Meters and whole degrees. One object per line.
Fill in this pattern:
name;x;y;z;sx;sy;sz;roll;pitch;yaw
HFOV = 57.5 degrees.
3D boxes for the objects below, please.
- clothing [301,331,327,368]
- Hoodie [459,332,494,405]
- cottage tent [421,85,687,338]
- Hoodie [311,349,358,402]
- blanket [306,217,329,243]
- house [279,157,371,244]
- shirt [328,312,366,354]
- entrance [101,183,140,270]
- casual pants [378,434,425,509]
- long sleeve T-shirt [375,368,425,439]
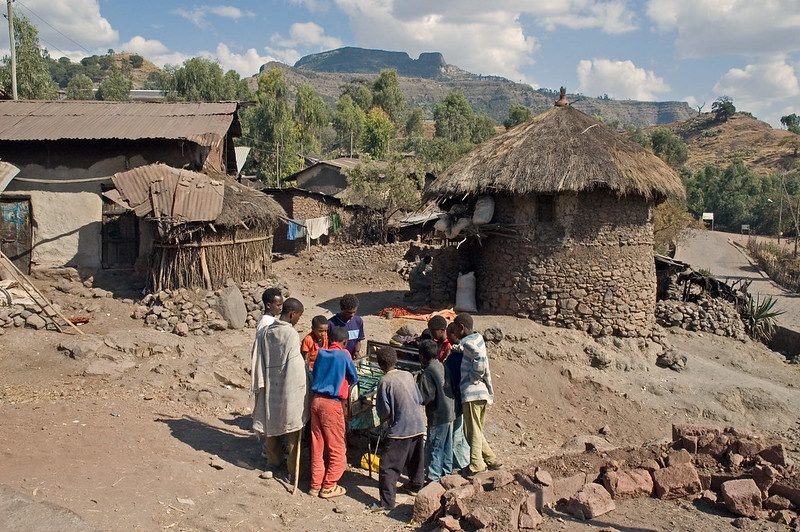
clothing;-1.599;1.581;13.628;0.648;0.630;0.357;-5;3;-39
Hoodie;1.471;1.960;13.901;0.676;1.371;0.397;4;5;4
cottage tent;4.572;-1.710;22.135;7.035;5.946;7.157;-1;7;-36
Hoodie;-1.185;1.927;13.463;0.887;0.953;0.615;4;12;0
blanket;-3.484;-1.614;30.767;0.523;0.992;2.010;5;4;11
house;-3.727;-3.032;34.317;3.119;1.881;4.613;-9;14;-36
shirt;-1.055;1.427;14.526;0.774;0.999;0.372;-3;23;-7
entrance;-7.958;-1.081;20.473;0.958;2.394;0.219;-5;-12;-13
casual pants;0.157;3.749;13.531;0.702;0.397;1.344;1;35;10
long sleeve T-shirt;0.016;2.560;13.591;1.065;1.211;0.697;-5;-4;-43
